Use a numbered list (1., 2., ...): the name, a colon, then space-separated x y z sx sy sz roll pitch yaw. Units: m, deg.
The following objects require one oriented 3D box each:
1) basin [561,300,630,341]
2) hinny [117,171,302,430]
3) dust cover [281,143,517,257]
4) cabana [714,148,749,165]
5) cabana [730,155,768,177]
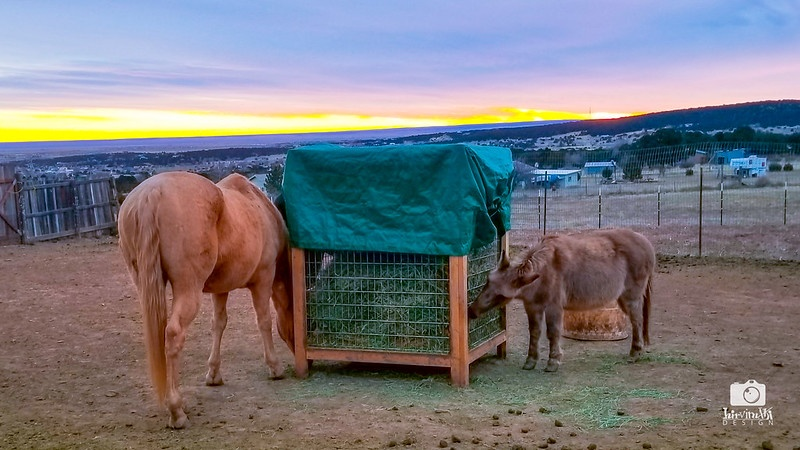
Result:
1. basin: 4.207 2.098 11.728 1.021 0.603 1.001 -1 0 0
2. hinny: -3.070 0.946 9.452 1.422 3.788 2.852 10 17 38
3. dust cover: 0.151 -0.488 10.052 2.509 1.101 2.518 1 1 31
4. cabana: 21.551 -4.527 36.349 1.755 0.966 1.730 -1 1 22
5. cabana: 22.610 -3.786 35.579 1.953 1.307 1.398 -1 6 10
